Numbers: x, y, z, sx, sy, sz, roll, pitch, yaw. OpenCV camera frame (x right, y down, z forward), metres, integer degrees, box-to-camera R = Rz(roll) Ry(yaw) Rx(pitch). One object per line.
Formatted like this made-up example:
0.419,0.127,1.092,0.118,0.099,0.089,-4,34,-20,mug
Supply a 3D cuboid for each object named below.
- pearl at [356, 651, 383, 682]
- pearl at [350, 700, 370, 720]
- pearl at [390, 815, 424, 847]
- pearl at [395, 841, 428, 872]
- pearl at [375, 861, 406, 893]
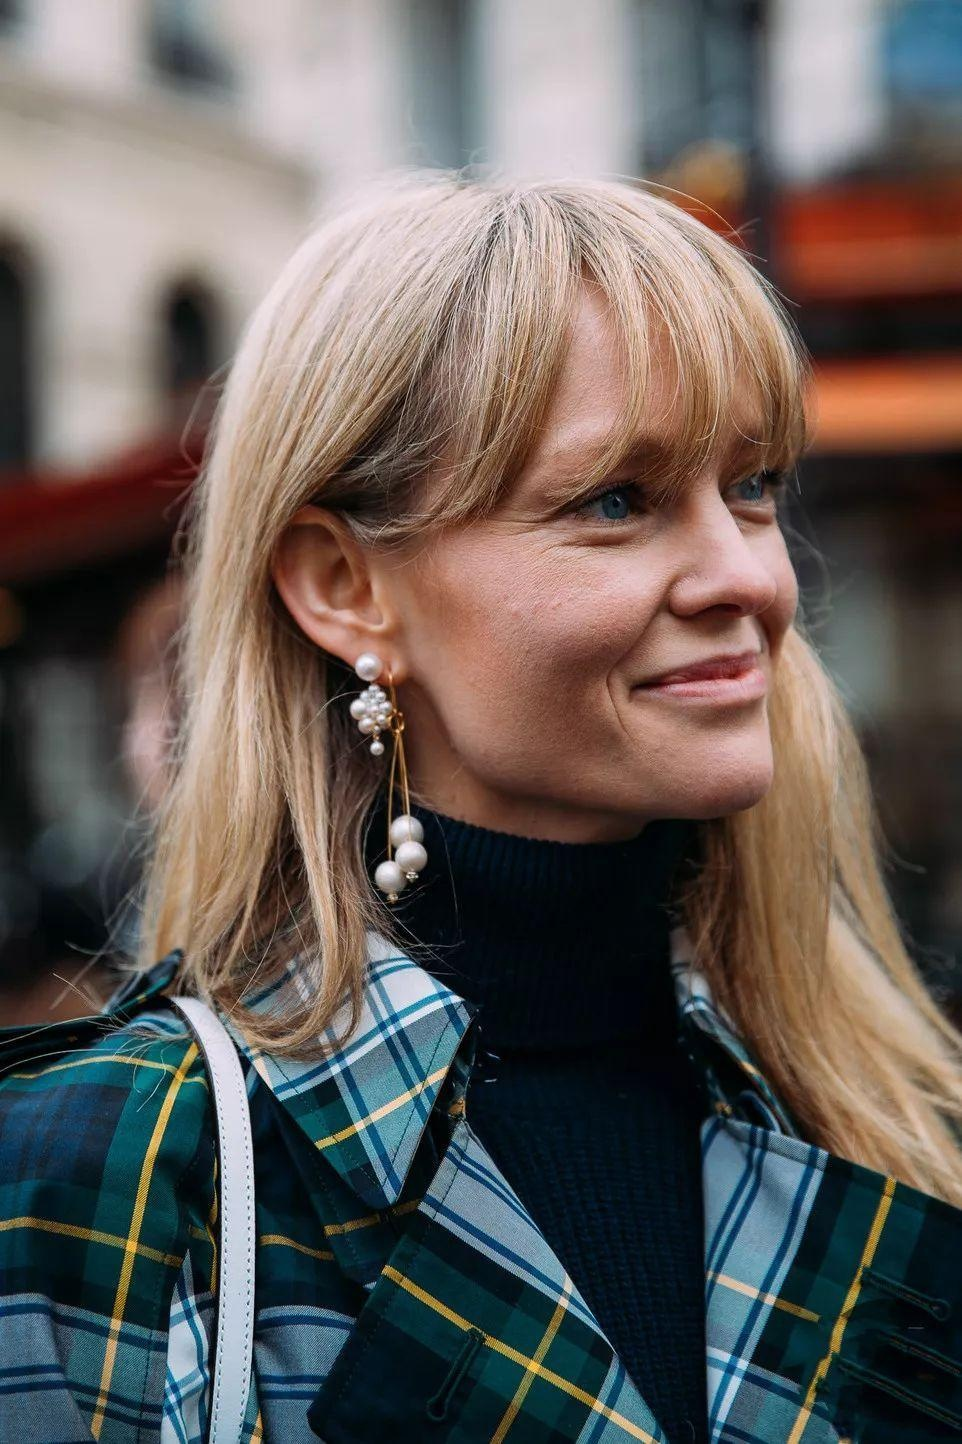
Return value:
-0.129,-0.068,1.751,0.023,0.020,0.029,-20,-29,-2,pearl
-0.143,-0.015,1.771,0.026,0.027,0.025,3,12,7,pearl
-0.088,0.127,1.764,0.040,0.042,0.039,0,2,4,pearl
-0.079,0.154,1.735,0.038,0.039,0.036,0,-2,-25,pearl
-0.109,0.177,1.741,0.039,0.040,0.037,-4,0,-26,pearl
